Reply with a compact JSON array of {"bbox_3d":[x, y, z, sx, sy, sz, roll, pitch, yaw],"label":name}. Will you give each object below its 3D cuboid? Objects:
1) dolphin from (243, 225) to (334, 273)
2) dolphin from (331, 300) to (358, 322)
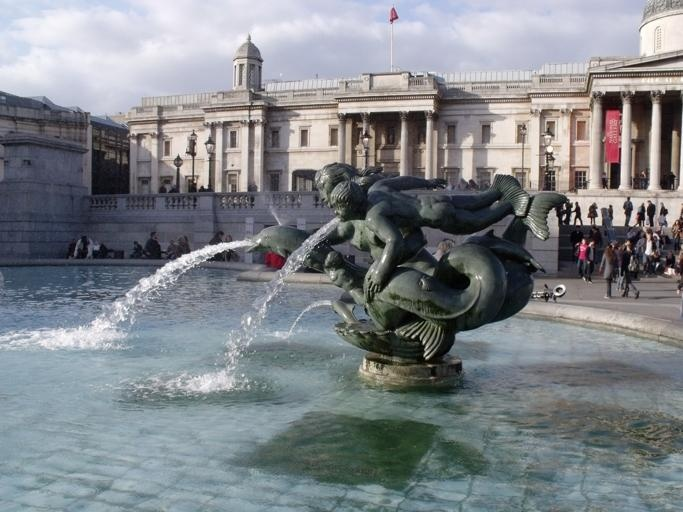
[{"bbox_3d":[-0.587,-0.079,8.531,0.953,0.502,0.283,2,9,10],"label":"dolphin"},{"bbox_3d":[0.042,0.665,8.771,0.165,0.179,0.309,-10,22,-37],"label":"dolphin"}]
